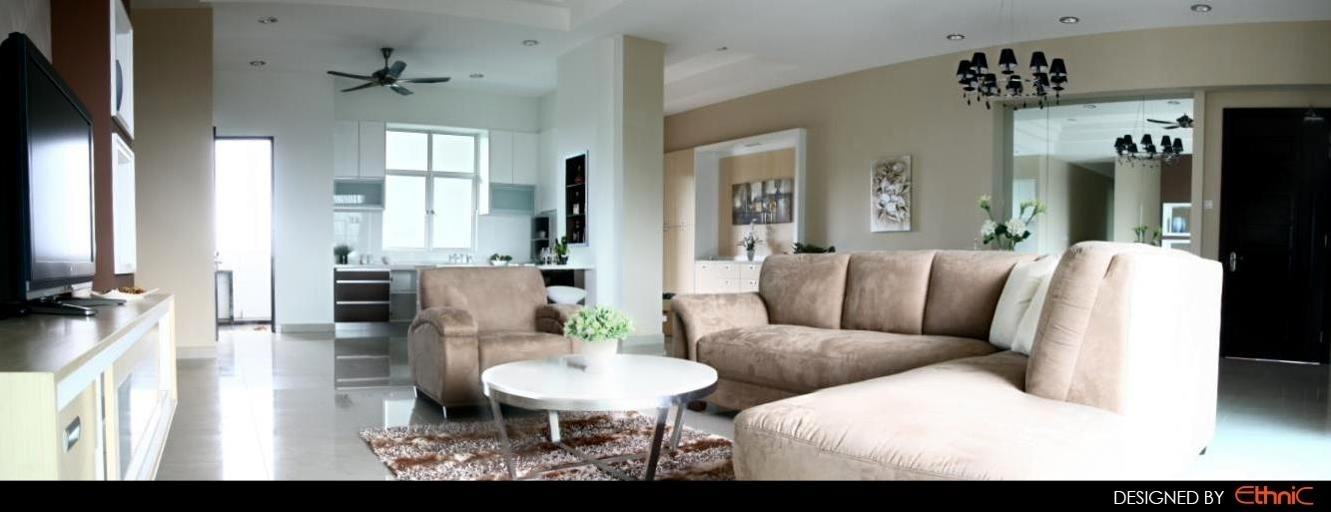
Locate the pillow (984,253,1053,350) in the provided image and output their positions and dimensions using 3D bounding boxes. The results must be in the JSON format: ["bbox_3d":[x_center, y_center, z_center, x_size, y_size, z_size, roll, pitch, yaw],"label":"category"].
[{"bbox_3d":[4.053,0.506,8.359,0.511,0.954,1.152,23,2,1],"label":"pillow"}]

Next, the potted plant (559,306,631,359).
[{"bbox_3d":[-0.789,0.844,8.197,0.562,0.570,0.501,3,6,44],"label":"potted plant"}]

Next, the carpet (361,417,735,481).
[{"bbox_3d":[-1.504,2.306,8.189,2.428,0.653,1.972,1,-1,-33],"label":"carpet"}]

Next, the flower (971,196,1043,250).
[{"bbox_3d":[5.500,-0.579,11.601,1.290,0.884,0.623,-4,0,-12],"label":"flower"}]

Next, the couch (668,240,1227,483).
[{"bbox_3d":[2.903,1.006,7.812,4.987,2.342,3.017,1,4,28],"label":"couch"}]

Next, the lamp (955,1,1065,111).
[{"bbox_3d":[5.411,-2.917,11.142,1.441,1.036,2.153,1,4,25],"label":"lamp"}]

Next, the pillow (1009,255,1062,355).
[{"bbox_3d":[4.236,0.510,8.219,0.872,1.111,0.491,1,0,13],"label":"pillow"}]

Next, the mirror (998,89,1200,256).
[{"bbox_3d":[7.040,-1.375,11.515,4.416,2.760,0.177,0,1,17],"label":"mirror"}]

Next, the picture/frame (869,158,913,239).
[{"bbox_3d":[4.009,-1.122,12.732,0.685,1.340,0.113,2,6,32],"label":"picture/frame"}]

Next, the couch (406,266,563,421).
[{"bbox_3d":[-2.041,0.912,9.899,3.199,1.673,2.106,0,0,-30],"label":"couch"}]
